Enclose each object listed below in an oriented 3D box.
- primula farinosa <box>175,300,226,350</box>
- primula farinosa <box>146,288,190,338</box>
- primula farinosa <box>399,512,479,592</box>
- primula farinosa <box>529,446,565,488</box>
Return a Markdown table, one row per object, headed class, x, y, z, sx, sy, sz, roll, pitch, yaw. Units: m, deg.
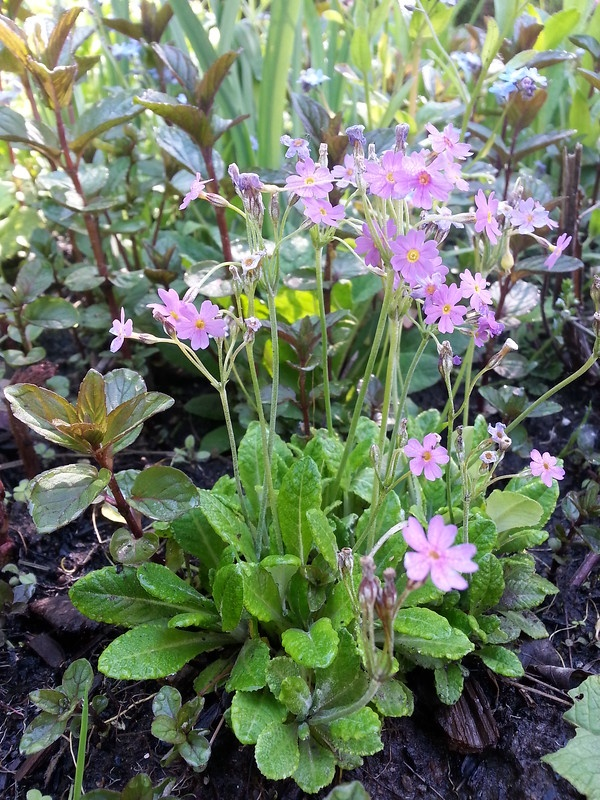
| class | x | y | z | sx | sy | sz | roll | pitch | yaw |
| --- | --- | --- | --- | --- | --- | --- | --- | --- | --- |
| primula farinosa | -0.182 | -0.146 | 1.231 | 0.094 | 0.106 | 0.117 | 1 | 29 | 7 |
| primula farinosa | -0.248 | -0.163 | 1.215 | 0.085 | 0.083 | 0.028 | -2 | -12 | 2 |
| primula farinosa | 0.192 | 0.236 | 0.892 | 0.100 | 0.139 | 0.136 | 4 | 29 | 13 |
| primula farinosa | 0.568 | 0.153 | 1.483 | 0.071 | 0.094 | 0.077 | 4 | 29 | 13 |
